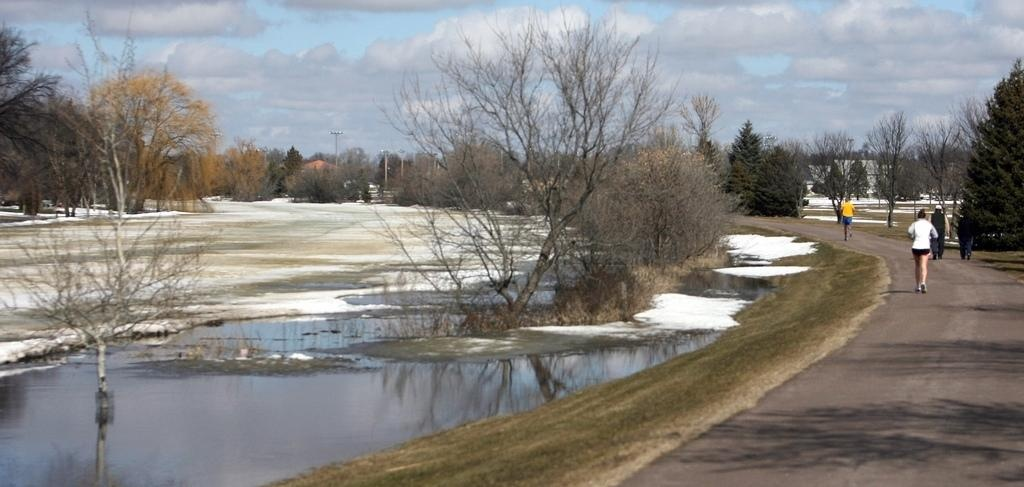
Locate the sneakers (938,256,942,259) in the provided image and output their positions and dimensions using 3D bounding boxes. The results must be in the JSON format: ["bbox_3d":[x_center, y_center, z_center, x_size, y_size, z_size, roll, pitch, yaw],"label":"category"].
[{"bbox_3d":[29.409,0.925,72.089,0.274,0.181,0.142,-2,7,0],"label":"sneakers"}]

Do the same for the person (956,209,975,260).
[{"bbox_3d":[31.189,-0.415,72.126,0.882,3.263,0.970,-3,0,18],"label":"person"}]

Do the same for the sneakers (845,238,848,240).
[{"bbox_3d":[26.678,-0.428,83.683,0.167,0.121,0.185,1,4,14],"label":"sneakers"}]

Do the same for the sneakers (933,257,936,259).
[{"bbox_3d":[29.136,0.926,72.348,0.172,0.151,0.086,-1,-12,8],"label":"sneakers"}]
